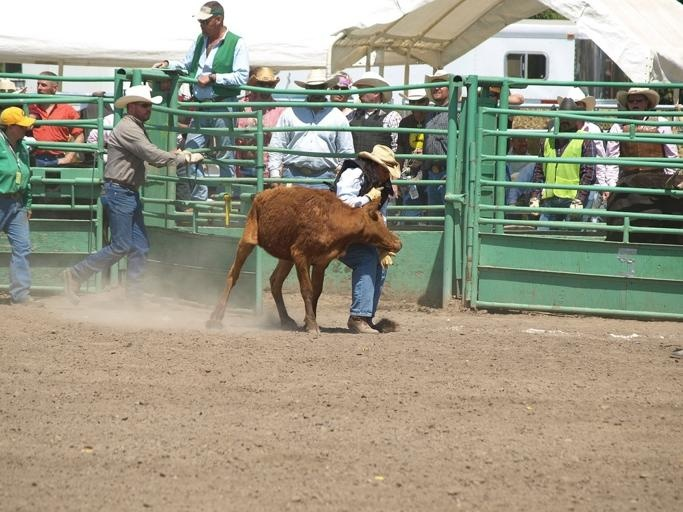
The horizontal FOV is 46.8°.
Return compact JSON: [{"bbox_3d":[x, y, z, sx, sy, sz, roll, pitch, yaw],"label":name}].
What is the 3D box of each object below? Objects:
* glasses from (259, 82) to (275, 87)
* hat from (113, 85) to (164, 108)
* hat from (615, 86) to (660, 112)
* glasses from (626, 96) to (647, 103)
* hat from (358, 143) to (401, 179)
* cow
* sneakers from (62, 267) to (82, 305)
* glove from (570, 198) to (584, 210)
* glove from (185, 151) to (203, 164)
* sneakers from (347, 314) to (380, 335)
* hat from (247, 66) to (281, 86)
[{"bbox_3d":[-1.134,-2.581,11.945,0.162,0.040,0.149,-1,0,4],"label":"glasses"},{"bbox_3d":[-2.286,-1.718,8.587,0.359,0.128,0.347,-8,-1,17],"label":"hat"},{"bbox_3d":[4.030,-2.145,10.707,0.517,0.354,0.872,5,5,25],"label":"hat"},{"bbox_3d":[3.933,-2.067,10.509,0.294,0.116,0.088,6,6,39],"label":"glasses"},{"bbox_3d":[0.374,-0.948,7.929,0.446,0.327,0.294,1,5,-10],"label":"hat"},{"bbox_3d":[-0.347,0.049,7.840,1.804,1.450,0.463,2,5,-8],"label":"cow"},{"bbox_3d":[-3.034,0.347,8.946,0.216,0.416,0.149,-13,9,3],"label":"sneakers"},{"bbox_3d":[3.059,-0.660,10.272,0.148,0.156,0.376,4,5,6],"label":"glove"},{"bbox_3d":[-1.618,-1.072,8.631,0.181,0.126,0.403,1,5,-12],"label":"glove"},{"bbox_3d":[0.264,0.708,8.039,0.397,0.138,0.134,2,3,22],"label":"sneakers"},{"bbox_3d":[-1.192,-2.783,11.999,0.536,0.224,0.636,1,-8,-12],"label":"hat"}]
